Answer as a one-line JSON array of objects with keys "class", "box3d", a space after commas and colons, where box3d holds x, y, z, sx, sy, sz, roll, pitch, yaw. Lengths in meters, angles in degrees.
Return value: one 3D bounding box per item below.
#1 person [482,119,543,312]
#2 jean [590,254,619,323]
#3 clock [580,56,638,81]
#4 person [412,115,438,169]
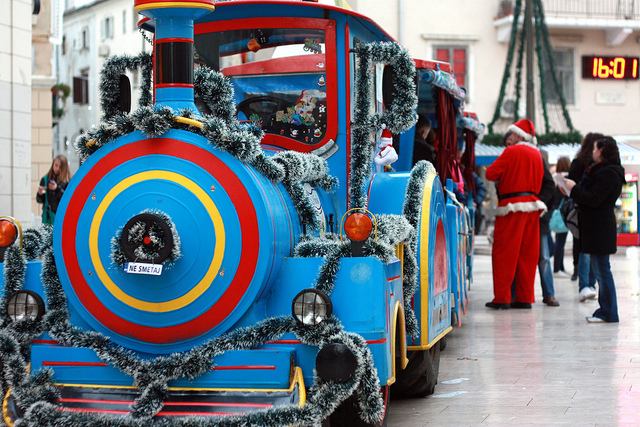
[{"class": "person", "box3d": [2.846, 0.037, 15.062, 0.787, 2.767, 1.058, 1, 2, 9]}, {"class": "jean", "box3d": [3.891, 0.899, 14.150, 0.455, 1.169, 0.428, -1, 3, -9]}, {"class": "clock", "box3d": [9.469, -4.722, 33.878, 0.878, 0.335, 0.115, 4, -3, 0]}, {"class": "person", "box3d": [1.529, -0.927, 13.502, 0.367, 0.740, 0.656, 1, -2, 6]}]
